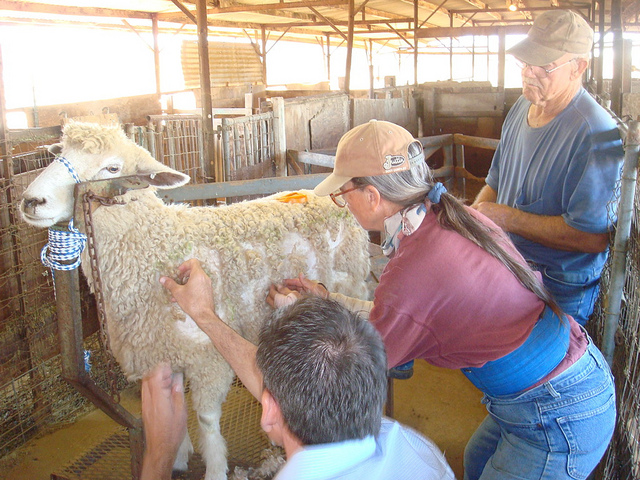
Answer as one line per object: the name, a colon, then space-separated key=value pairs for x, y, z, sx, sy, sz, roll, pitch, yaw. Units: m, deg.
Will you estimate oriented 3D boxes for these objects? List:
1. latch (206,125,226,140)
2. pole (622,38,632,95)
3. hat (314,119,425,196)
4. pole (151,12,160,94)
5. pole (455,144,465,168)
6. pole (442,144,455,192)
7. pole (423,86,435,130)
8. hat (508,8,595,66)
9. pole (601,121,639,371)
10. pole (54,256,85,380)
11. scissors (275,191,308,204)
latch: x=-1.478 y=-1.573 z=6.892 sx=0.227 sy=0.085 sz=0.330 roll=-1 pitch=1 yaw=-3
pole: x=6.107 y=-3.456 z=9.529 sx=0.195 sy=1.004 sz=0.467 roll=7 pitch=17 yaw=32
hat: x=0.218 y=-0.406 z=2.305 sx=0.537 sy=0.336 sz=0.393 roll=-8 pitch=9 yaw=8
pole: x=-5.285 y=-6.044 z=15.590 sx=0.286 sy=2.380 sz=0.681 roll=-7 pitch=15 yaw=-19
pole: x=2.511 y=-1.526 z=8.639 sx=0.067 sy=0.382 sz=0.235 roll=-6 pitch=15 yaw=-15
pole: x=2.302 y=-1.288 z=8.586 sx=0.229 sy=0.812 sz=0.673 roll=2 pitch=15 yaw=15
pole: x=2.667 y=-3.190 z=11.669 sx=0.258 sy=0.986 sz=0.175 roll=1 pitch=15 yaw=13
hat: x=1.433 y=-1.269 z=2.971 sx=0.456 sy=0.279 sz=0.315 roll=-12 pitch=39 yaw=-21
pole: x=1.636 y=0.047 z=2.607 sx=0.072 sy=1.347 sz=0.141 roll=7 pitch=17 yaw=31
pole: x=-1.446 y=0.490 z=2.792 sx=0.160 sy=0.661 sz=0.179 roll=-10 pitch=17 yaw=-30
scissors: x=-0.195 y=-0.325 z=3.668 sx=0.143 sy=0.051 sz=0.115 roll=-7 pitch=6 yaw=18
